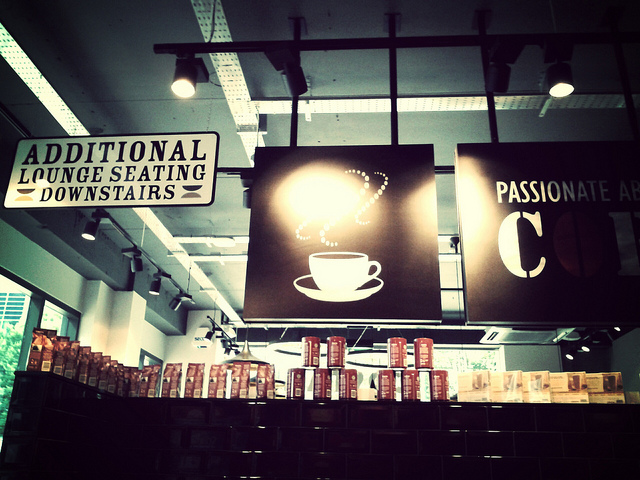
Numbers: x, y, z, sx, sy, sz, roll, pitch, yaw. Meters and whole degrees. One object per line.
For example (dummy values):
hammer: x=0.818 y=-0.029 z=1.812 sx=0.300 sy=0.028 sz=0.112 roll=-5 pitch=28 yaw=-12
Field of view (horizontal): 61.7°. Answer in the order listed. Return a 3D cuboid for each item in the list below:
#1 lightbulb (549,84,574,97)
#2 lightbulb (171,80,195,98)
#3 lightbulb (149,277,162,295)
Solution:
lightbulb: x=1.874 y=-1.153 z=4.184 sx=0.158 sy=0.051 sz=0.185 roll=-5 pitch=-22 yaw=16
lightbulb: x=-1.100 y=-1.210 z=4.273 sx=0.134 sy=0.081 sz=0.128 roll=16 pitch=-42 yaw=-10
lightbulb: x=-3.035 y=0.849 z=9.848 sx=0.157 sy=0.308 sz=0.301 roll=10 pitch=-24 yaw=-18
